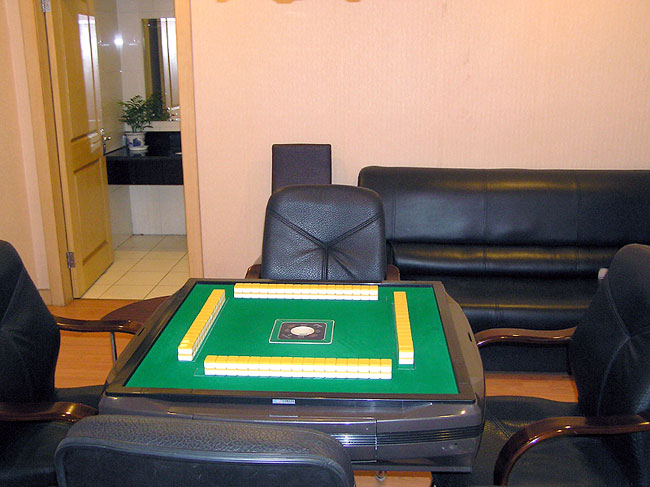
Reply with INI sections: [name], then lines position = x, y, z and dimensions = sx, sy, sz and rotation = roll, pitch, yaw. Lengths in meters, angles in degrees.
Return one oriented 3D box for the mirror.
[mirror]
position = -1.769, -1.883, 5.590
dimensions = 0.393, 1.064, 0.228
rotation = -4, 22, -4
